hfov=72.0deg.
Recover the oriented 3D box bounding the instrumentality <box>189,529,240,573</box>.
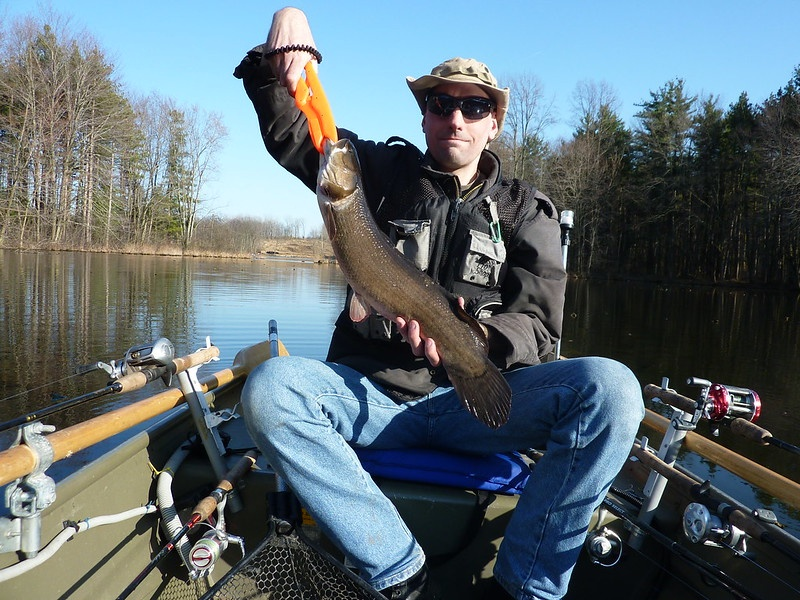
[{"bbox_3d":[-0.792,1.034,2.360,0.159,0.105,0.185,4,7,2],"label":"instrumentality"}]

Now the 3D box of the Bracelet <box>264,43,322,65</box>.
[{"bbox_3d":[-0.496,-1.128,2.526,0.254,0.074,0.086,-2,7,-10],"label":"Bracelet"}]

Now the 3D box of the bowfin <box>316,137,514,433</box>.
[{"bbox_3d":[0.089,-0.048,2.611,0.462,1.436,0.284,-32,-1,-18],"label":"bowfin"}]

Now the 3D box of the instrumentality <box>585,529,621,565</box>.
[{"bbox_3d":[0.923,1.126,2.541,0.120,0.184,0.092,-4,-11,-9],"label":"instrumentality"}]

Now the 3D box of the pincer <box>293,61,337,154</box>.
[{"bbox_3d":[-0.367,-0.870,2.460,0.176,0.434,0.263,-5,8,-33],"label":"pincer"}]
